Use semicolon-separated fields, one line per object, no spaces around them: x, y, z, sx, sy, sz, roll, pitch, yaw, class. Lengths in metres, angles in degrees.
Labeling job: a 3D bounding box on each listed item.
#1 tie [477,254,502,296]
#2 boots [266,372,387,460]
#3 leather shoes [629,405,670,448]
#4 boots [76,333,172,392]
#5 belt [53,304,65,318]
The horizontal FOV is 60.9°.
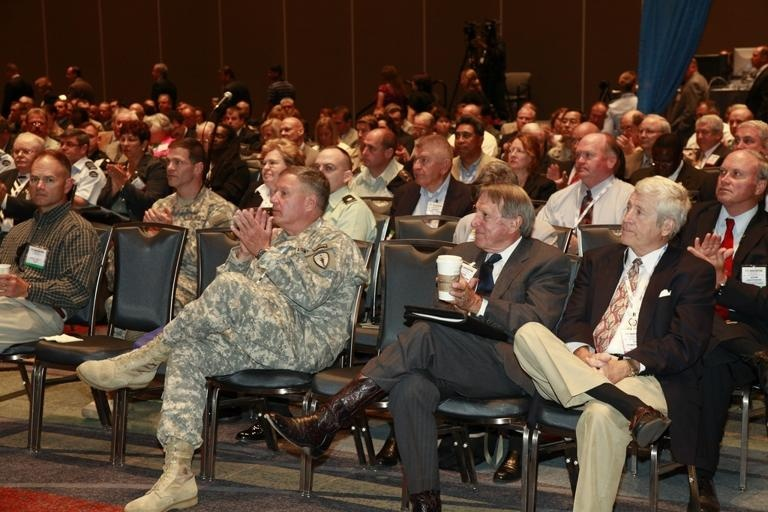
0.586;0.109;3.662;0.142;0.231;0.061;16;-6;36;tie
-0.252;0.812;3.380;0.614;0.369;0.194;2;-12;29;boots
1.174;0.762;2.965;0.148;0.135;0.219;47;-4;31;leather shoes
-1.494;0.615;3.744;0.209;0.249;0.614;20;-4;22;boots
-2.209;0.370;4.468;0.074;0.090;0.038;-23;5;-29;belt
